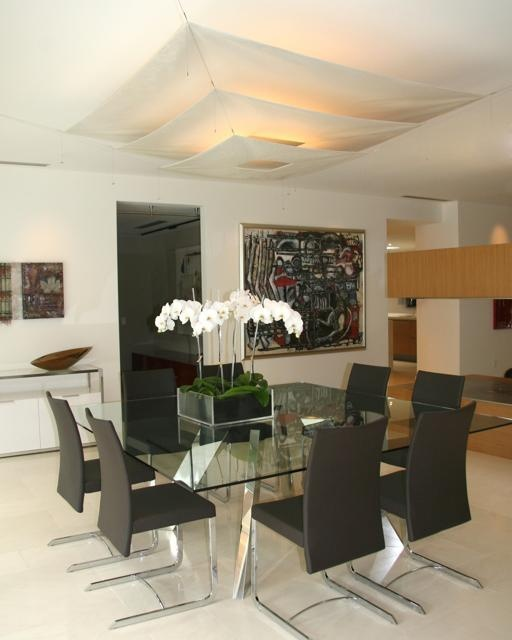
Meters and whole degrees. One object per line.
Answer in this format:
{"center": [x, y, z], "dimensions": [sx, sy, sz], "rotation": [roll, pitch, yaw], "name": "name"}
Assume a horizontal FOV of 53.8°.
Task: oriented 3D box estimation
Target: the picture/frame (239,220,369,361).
{"center": [0.527, -0.381, 5.966], "dimensions": [1.910, 1.574, 0.078], "rotation": [-1, 1, -30], "name": "picture/frame"}

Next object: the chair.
{"center": [0.249, 0.784, 2.638], "dimensions": [2.227, 0.916, 1.672], "rotation": [0, -2, -35], "name": "chair"}

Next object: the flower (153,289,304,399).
{"center": [-0.098, 0.166, 2.834], "dimensions": [0.663, 0.528, 0.752], "rotation": [-2, 4, -20], "name": "flower"}
